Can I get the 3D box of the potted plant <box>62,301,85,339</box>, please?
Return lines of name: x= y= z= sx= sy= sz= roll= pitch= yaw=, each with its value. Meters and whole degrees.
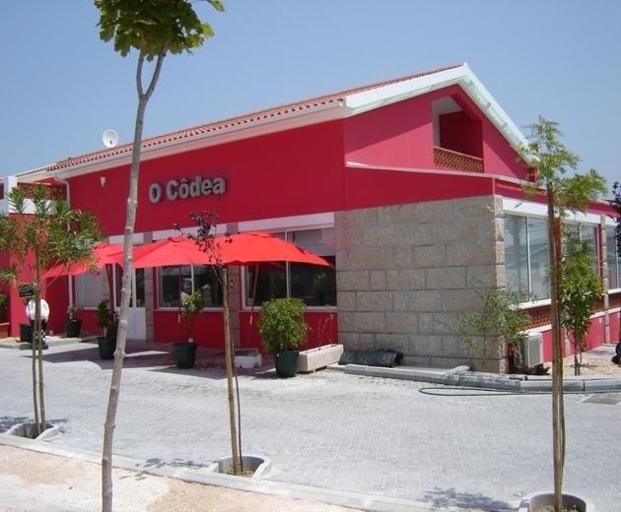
potted plant: x=-7.705 y=2.045 z=20.716 sx=0.791 sy=1.492 sz=0.843 roll=2 pitch=-6 yaw=-16

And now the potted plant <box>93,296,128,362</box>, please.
potted plant: x=-5.142 y=1.856 z=16.323 sx=0.474 sy=1.401 sz=0.532 roll=-2 pitch=-6 yaw=-2

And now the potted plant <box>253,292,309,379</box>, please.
potted plant: x=-0.585 y=1.652 z=13.988 sx=1.400 sy=2.274 sz=1.349 roll=-1 pitch=-3 yaw=-1

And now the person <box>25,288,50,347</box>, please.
person: x=-6.718 y=1.532 z=15.865 sx=0.421 sy=1.501 sz=0.319 roll=-8 pitch=17 yaw=-33

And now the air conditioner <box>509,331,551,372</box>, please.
air conditioner: x=4.587 y=1.980 z=13.677 sx=0.432 sy=0.656 sz=0.800 roll=-4 pitch=-2 yaw=43
